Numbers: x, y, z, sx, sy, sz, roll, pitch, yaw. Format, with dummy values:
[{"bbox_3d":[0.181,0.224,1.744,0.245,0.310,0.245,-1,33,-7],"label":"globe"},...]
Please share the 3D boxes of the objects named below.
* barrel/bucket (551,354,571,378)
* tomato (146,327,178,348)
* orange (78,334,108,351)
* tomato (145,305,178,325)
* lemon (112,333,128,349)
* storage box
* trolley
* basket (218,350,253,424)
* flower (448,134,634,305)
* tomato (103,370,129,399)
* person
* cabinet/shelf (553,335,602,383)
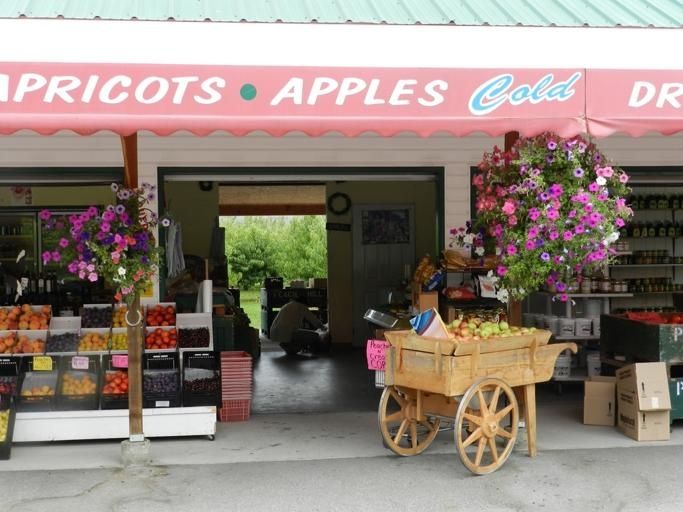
[{"bbox_3d":[2.740,1.353,8.128,0.265,0.246,0.267,0,-3,0],"label":"barrel/bucket"},{"bbox_3d":[-1.867,0.841,6.819,0.318,0.192,0.279,-1,1,-16],"label":"tomato"},{"bbox_3d":[-2.483,0.861,6.644,0.294,0.169,0.226,-1,1,-12],"label":"orange"},{"bbox_3d":[-1.938,0.644,7.096,0.244,0.076,0.259,4,19,-1],"label":"tomato"},{"bbox_3d":[-2.227,0.860,6.641,0.189,0.163,0.055,-2,-5,-8],"label":"lemon"},{"bbox_3d":[2.913,1.418,6.711,0.763,0.693,0.757,-1,1,-1],"label":"storage box"},{"bbox_3d":[1.067,1.234,5.954,1.469,1.153,1.045,-2,1,-31],"label":"trolley"},{"bbox_3d":[-1.139,1.445,7.134,0.328,0.689,0.103,-1,1,-15],"label":"basket"},{"bbox_3d":[1.803,-0.338,5.731,1.276,1.446,0.525,0,1,19],"label":"flower"},{"bbox_3d":[-2.211,1.248,6.461,0.239,0.232,0.182,-1,1,-11],"label":"tomato"},{"bbox_3d":[-0.745,1.276,11.875,0.850,0.940,1.056,1,-3,31],"label":"person"},{"bbox_3d":[3.206,1.303,8.428,0.576,0.511,1.077,-5,-7,44],"label":"cabinet/shelf"}]
